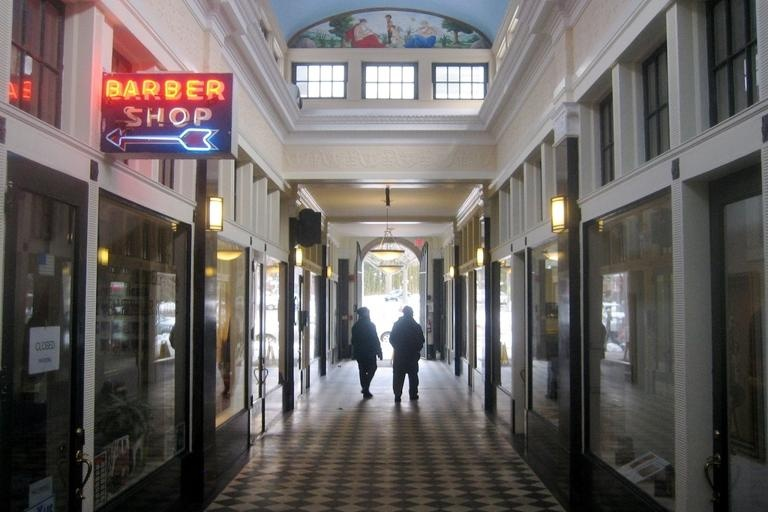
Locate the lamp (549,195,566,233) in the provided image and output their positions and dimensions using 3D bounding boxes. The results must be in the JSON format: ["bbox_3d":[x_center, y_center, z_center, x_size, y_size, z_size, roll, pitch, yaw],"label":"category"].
[{"bbox_3d":[1.793,-0.471,6.048,0.220,0.346,0.214,-2,11,31],"label":"lamp"}]

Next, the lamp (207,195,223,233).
[{"bbox_3d":[-1.819,-0.472,6.182,0.127,0.353,0.166,0,-3,2],"label":"lamp"}]

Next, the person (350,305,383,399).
[{"bbox_3d":[-0.377,1.956,12.138,0.584,1.784,1.215,0,-3,-1],"label":"person"}]

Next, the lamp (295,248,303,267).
[{"bbox_3d":[-1.606,-0.019,10.763,0.079,0.320,0.259,0,-3,6],"label":"lamp"}]

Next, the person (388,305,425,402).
[{"bbox_3d":[0.447,1.885,11.552,0.670,1.803,0.950,0,-3,1],"label":"person"}]

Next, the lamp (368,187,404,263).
[{"bbox_3d":[0.045,-0.931,16.364,1.209,2.764,1.256,0,-9,1],"label":"lamp"}]
